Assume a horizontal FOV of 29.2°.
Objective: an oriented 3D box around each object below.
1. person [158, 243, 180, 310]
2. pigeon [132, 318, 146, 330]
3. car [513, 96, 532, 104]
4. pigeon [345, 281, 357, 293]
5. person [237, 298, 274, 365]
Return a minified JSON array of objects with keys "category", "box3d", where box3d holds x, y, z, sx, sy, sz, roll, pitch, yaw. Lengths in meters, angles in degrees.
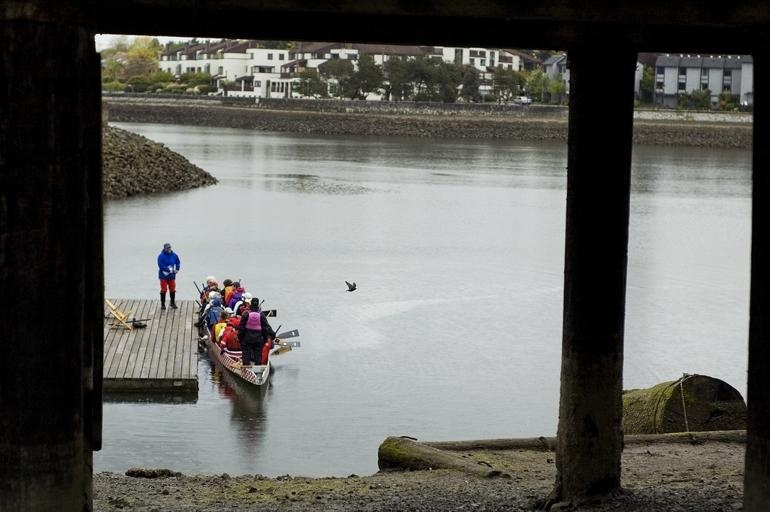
[{"category":"person","box3d":[-5.235,0.504,35.323,0.539,1.551,1.016,-7,4,-9]},{"category":"pigeon","box3d":[-5.632,1.551,33.504,0.312,0.142,0.499,-6,4,-7]},{"category":"car","box3d":[12.276,-14.016,134.683,1.379,0.946,2.750,1,12,2]},{"category":"pigeon","box3d":[-1.009,0.828,39.233,0.269,0.166,0.316,-15,-7,7]},{"category":"person","box3d":[-2.858,1.635,31.347,0.652,1.364,0.965,-4,5,24]}]
